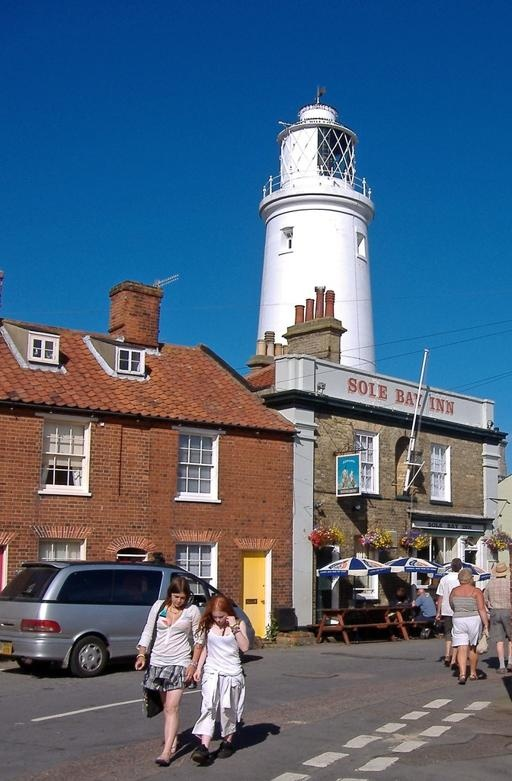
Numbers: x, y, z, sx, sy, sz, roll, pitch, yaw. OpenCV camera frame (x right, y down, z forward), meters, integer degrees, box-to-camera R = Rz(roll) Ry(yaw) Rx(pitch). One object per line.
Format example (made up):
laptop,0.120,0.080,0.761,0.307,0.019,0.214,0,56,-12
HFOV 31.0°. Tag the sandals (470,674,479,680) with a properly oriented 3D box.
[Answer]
sandals,3.315,4.325,14.006,0.085,0.077,0.222,0,-14,6

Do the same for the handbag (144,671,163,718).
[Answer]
handbag,-0.900,2.704,8.109,0.230,0.331,0.373,1,-8,-9

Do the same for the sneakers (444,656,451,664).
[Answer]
sneakers,3.313,4.634,15.938,0.076,0.089,0.213,-2,-40,4

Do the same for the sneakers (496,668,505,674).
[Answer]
sneakers,3.840,4.408,14.559,0.151,0.064,0.098,-6,-1,15
